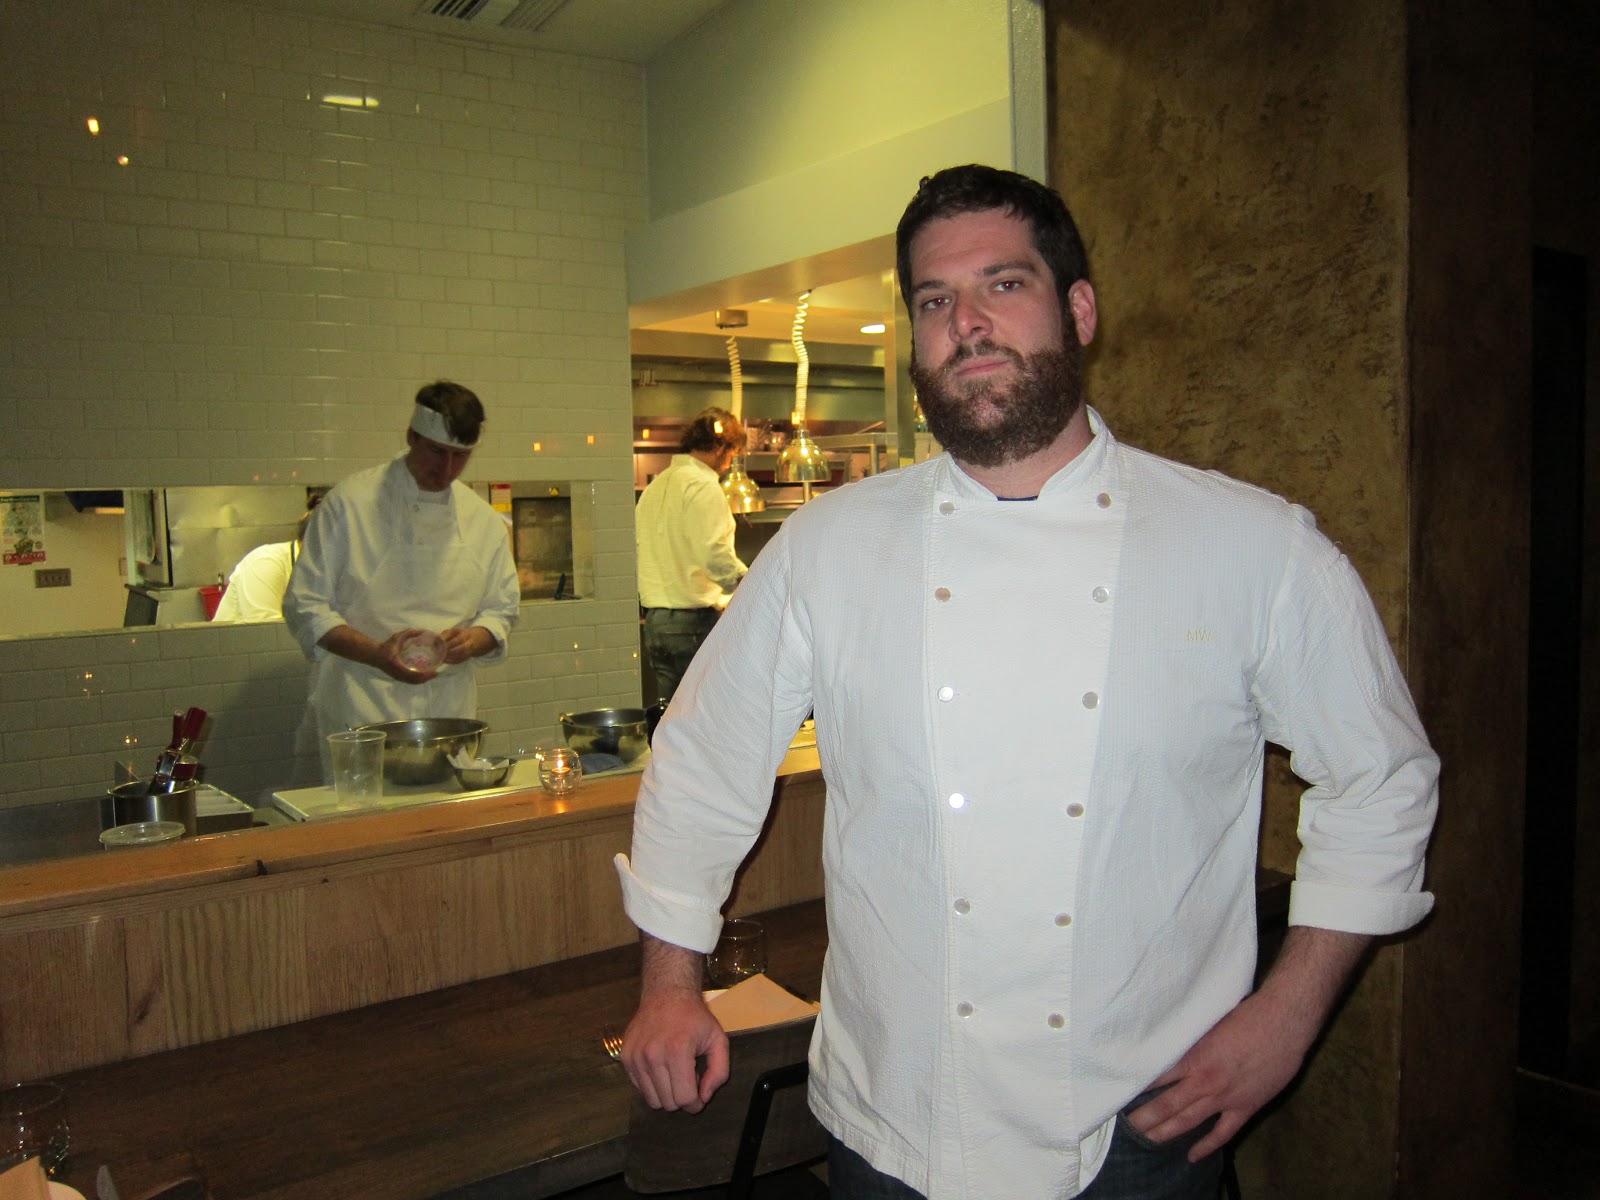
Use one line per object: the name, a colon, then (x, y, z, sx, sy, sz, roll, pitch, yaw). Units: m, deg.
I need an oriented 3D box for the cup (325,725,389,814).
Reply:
cup: (-1.033, 0.399, 2.955, 0.159, 0.162, 0.151, -7, -4, -1)

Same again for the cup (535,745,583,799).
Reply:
cup: (-0.535, 0.388, 2.839, 0.095, 0.096, 0.091, 0, 3, 0)

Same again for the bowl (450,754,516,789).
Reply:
bowl: (-0.746, 0.401, 2.985, 0.087, 0.050, 0.098, -2, -9, 38)
